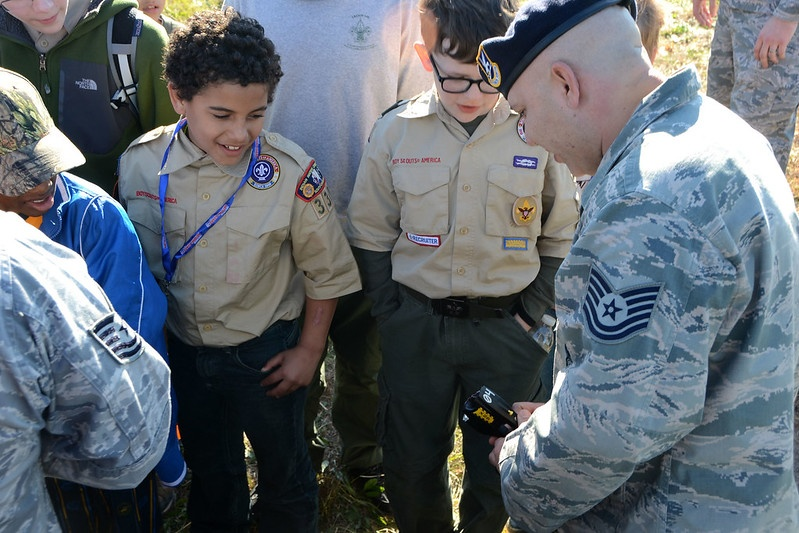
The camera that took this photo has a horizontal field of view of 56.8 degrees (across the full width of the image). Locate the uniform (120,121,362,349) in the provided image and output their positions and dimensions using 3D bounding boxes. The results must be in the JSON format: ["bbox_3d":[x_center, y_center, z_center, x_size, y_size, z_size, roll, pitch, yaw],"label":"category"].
[{"bbox_3d":[-0.716,-0.121,3.176,0.983,0.825,0.454,0,21,-2],"label":"uniform"}]

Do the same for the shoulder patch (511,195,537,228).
[{"bbox_3d":[0.541,-0.246,3.249,0.121,0.126,0.023,-9,18,-20],"label":"shoulder patch"}]

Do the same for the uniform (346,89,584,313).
[{"bbox_3d":[0.308,-0.268,3.178,0.901,0.856,0.458,3,6,3],"label":"uniform"}]

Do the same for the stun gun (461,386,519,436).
[{"bbox_3d":[0.339,0.552,2.793,0.211,0.133,0.083,35,27,-7],"label":"stun gun"}]

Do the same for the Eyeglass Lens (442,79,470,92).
[{"bbox_3d":[0.240,-0.768,3.144,0.131,0.065,0.024,8,12,29],"label":"Eyeglass Lens"}]
